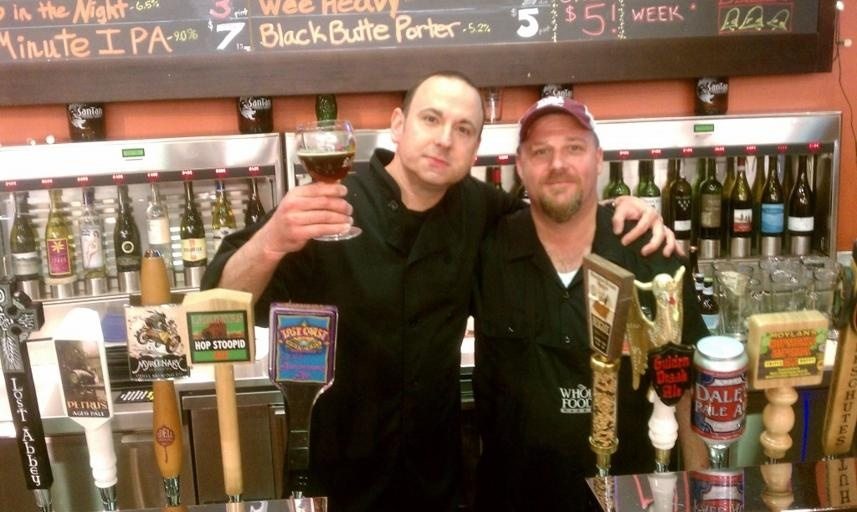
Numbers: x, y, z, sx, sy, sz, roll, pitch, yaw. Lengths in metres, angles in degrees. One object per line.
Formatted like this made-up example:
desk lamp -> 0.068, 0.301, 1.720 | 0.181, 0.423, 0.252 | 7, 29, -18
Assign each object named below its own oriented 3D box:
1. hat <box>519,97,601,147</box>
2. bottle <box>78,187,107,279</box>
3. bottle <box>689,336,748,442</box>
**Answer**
hat -> 0.535, -0.584, 2.899 | 0.326, 0.192, 0.451 | 1, 0, 7
bottle -> -1.903, -0.133, 3.840 | 0.123, 0.542, 0.120 | -4, 1, 0
bottle -> 0.878, 0.403, 2.053 | 0.179, 0.252, 0.115 | -4, 1, 5
